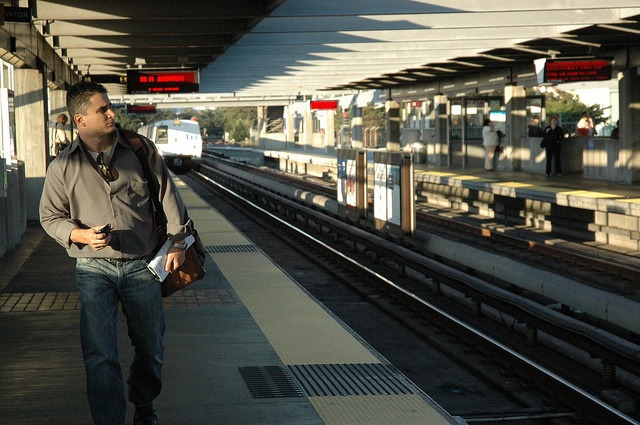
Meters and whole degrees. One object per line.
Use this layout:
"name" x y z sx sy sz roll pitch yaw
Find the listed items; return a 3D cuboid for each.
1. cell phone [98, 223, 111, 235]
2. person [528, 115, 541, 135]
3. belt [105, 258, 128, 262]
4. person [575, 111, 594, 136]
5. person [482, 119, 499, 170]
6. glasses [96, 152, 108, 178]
"cell phone" -1.379 0.116 3.350 0.053 0.074 0.098 3 4 13
"person" 8.796 -3.533 21.378 0.425 0.711 0.726 4 3 16
"belt" -1.388 0.327 3.564 0.145 0.029 0.024 2 3 -16
"person" 10.674 -3.531 21.053 0.509 0.826 2.097 4 4 25
"person" 7.173 -2.847 21.942 0.615 1.582 1.066 4 3 20
"glasses" -1.481 -0.317 3.550 0.056 0.178 0.126 1 3 -41
